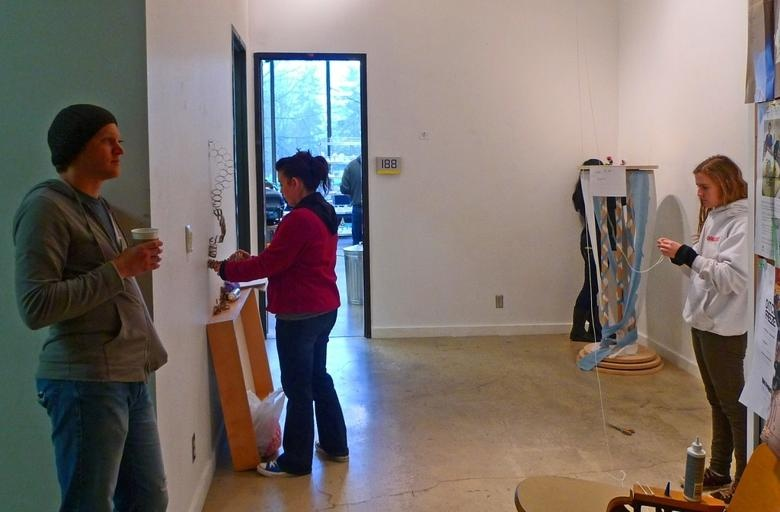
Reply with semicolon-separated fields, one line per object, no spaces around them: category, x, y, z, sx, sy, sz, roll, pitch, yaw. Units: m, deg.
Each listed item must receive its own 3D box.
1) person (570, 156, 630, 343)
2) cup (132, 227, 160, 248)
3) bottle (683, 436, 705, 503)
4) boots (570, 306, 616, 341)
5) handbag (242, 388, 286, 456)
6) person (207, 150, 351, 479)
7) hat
person;2.148;-0.037;6.414;0.344;1.953;0.943;1;11;11
cup;-1.071;-0.095;2.615;0.096;0.080;0.104;2;12;0
bottle;1.332;0.915;2.612;0.071;0.281;0.166;5;13;28
boots;2.166;0.753;6.526;0.378;0.532;0.285;0;-5;-3
handbag;-0.888;1.196;4.358;0.228;0.489;0.395;11;1;-22
person;-0.666;0.396;4.026;0.734;2.154;0.457;-4;11;-16
hat;-1.352;-0.506;2.584;0.247;0.236;0.212;-9;-4;-15
